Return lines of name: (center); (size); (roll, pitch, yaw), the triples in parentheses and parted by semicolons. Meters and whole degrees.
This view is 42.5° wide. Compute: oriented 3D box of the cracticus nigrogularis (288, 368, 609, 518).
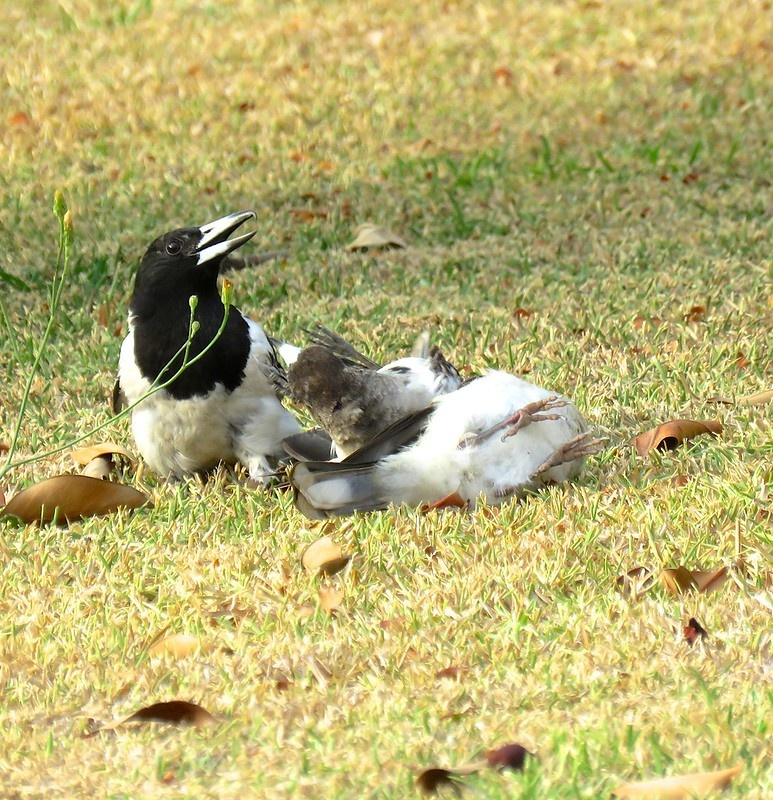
cracticus nigrogularis: (0.202, 0.193, 3.077); (0.954, 0.427, 0.372); (-19, 53, -13)

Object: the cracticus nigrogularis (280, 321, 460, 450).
cracticus nigrogularis: (-0.083, -0.116, 3.543); (0.287, 0.847, 0.441); (-41, 99, 0)
